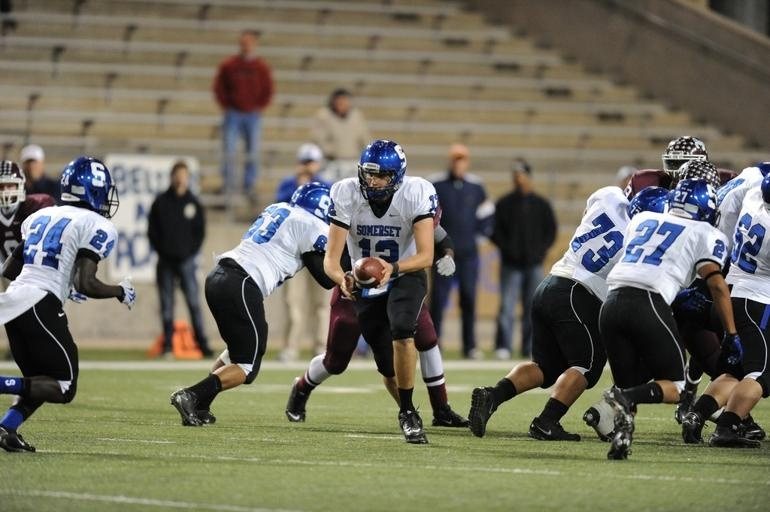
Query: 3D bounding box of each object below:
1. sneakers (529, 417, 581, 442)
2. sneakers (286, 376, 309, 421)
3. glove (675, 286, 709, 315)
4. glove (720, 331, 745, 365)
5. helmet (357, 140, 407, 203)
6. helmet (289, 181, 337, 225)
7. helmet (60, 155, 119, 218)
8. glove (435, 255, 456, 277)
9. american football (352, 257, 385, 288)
[{"bbox_3d":[1.377,1.375,8.928,0.456,0.211,0.166,0,3,-1],"label":"sneakers"},{"bbox_3d":[-0.770,1.252,9.718,0.141,0.426,0.185,2,-2,-42],"label":"sneakers"},{"bbox_3d":[2.468,0.349,9.040,0.280,0.181,0.160,2,0,15],"label":"glove"},{"bbox_3d":[2.651,0.702,8.584,0.174,0.225,0.088,-2,10,13],"label":"glove"},{"bbox_3d":[-0.027,-0.655,8.700,0.362,0.471,0.220,2,0,-2],"label":"helmet"},{"bbox_3d":[-0.641,-0.432,9.650,0.399,0.351,0.295,2,20,-24],"label":"helmet"},{"bbox_3d":[-2.360,-0.520,8.612,0.371,0.495,0.500,10,9,32],"label":"helmet"},{"bbox_3d":[0.490,0.073,9.141,0.157,0.168,0.056,-41,9,2],"label":"glove"},{"bbox_3d":[-0.131,0.116,8.581,0.214,0.221,0.219,10,5,-28],"label":"american football"}]
